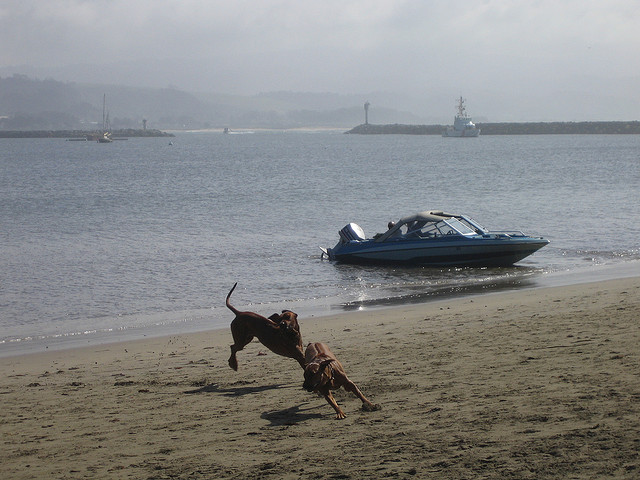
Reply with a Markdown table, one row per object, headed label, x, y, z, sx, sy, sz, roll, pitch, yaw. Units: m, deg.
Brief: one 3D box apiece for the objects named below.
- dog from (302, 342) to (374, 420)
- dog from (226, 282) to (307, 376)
| label | x | y | z | sx | sy | sz | roll | pitch | yaw |
| --- | --- | --- | --- | --- | --- | --- | --- | --- | --- |
| dog | 0.144 | 2.104 | 13.100 | 0.969 | 0.934 | 2.138 | -13 | 16 | -6 |
| dog | -0.605 | 1.867 | 14.099 | 1.609 | 1.285 | 1.396 | -5 | 15 | -33 |
